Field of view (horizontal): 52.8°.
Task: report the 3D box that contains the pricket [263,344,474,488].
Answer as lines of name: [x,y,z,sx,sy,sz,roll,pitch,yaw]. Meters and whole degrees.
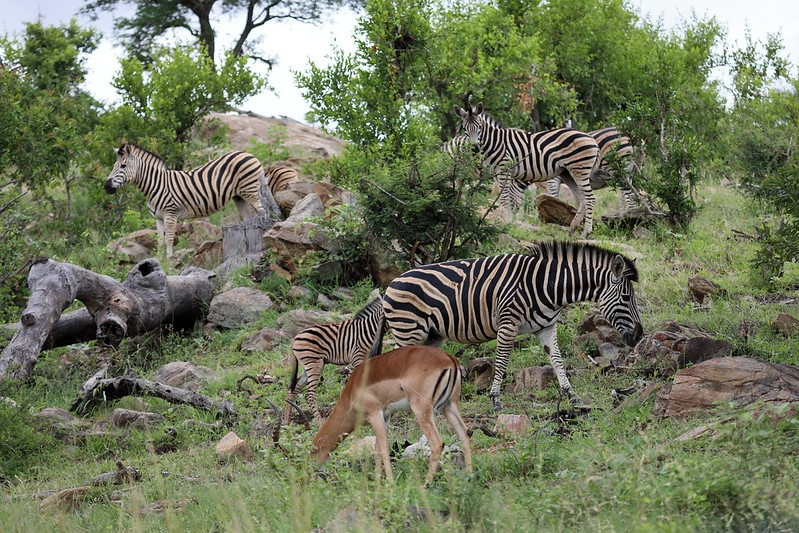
pricket: [-0.088,1.822,9.886,1.856,1.522,1.259,-4,1,6]

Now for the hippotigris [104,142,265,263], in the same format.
hippotigris: [-4.923,-1.632,18.977,3.957,2.722,1.104,-11,17,-36]
